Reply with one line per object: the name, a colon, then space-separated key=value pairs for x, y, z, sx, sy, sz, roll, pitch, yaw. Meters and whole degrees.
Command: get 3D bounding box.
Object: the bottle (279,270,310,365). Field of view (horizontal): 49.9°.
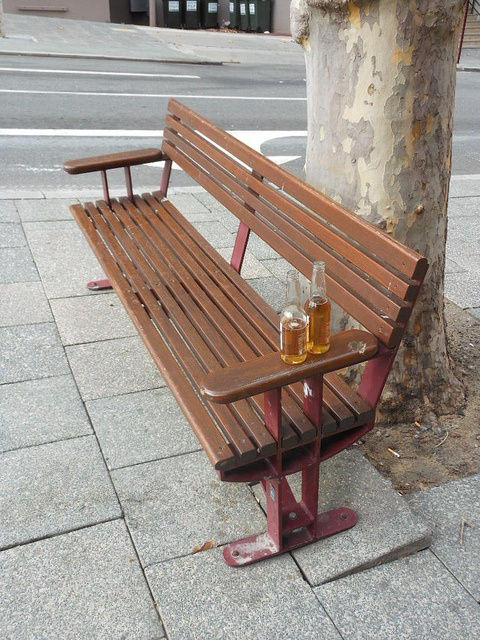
bottle: x=0.155 y=-0.013 z=1.461 sx=0.078 sy=0.241 sz=0.173 roll=1 pitch=25 yaw=5
